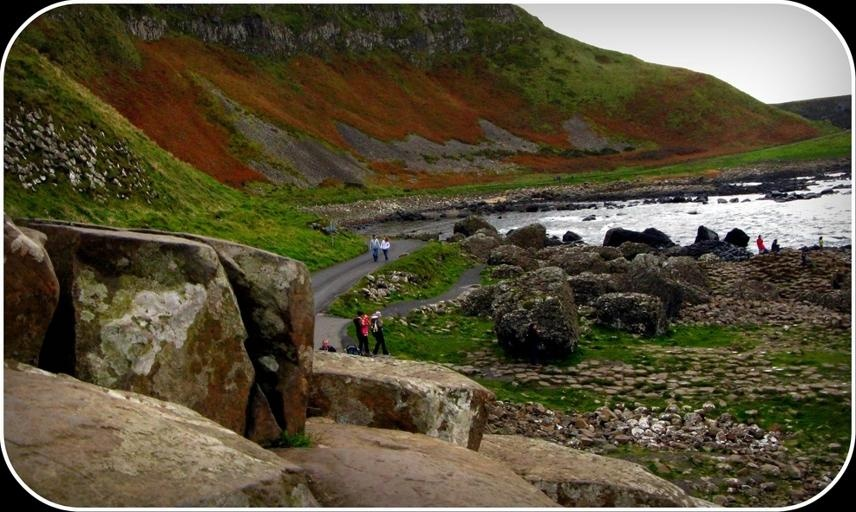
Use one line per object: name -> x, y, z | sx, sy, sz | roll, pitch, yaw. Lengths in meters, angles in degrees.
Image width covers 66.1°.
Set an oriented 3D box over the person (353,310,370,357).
person -> -3.800, 4.529, 37.738 | 1.021, 2.700, 0.976 | -11, 43, 6
